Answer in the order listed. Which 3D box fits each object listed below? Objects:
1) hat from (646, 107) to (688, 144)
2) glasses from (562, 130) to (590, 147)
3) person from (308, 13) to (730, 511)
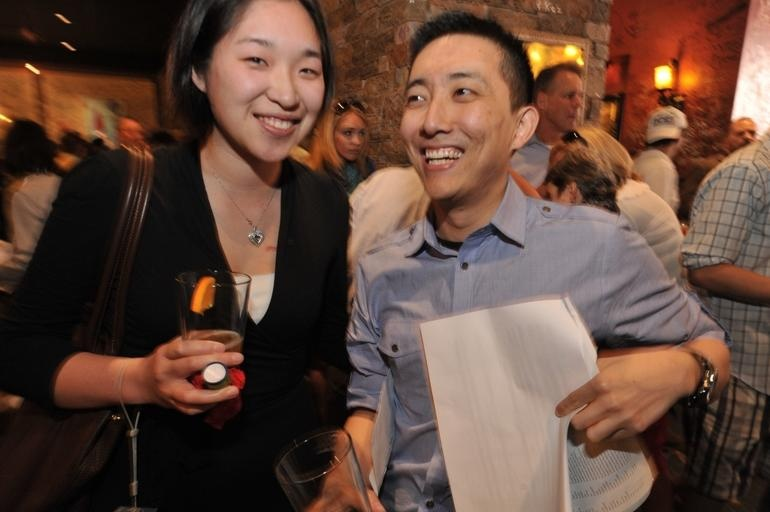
[{"bbox_3d":[1.943,-0.907,3.873,0.207,0.244,0.284,-4,-5,36],"label":"hat"},{"bbox_3d":[1.182,-0.725,3.467,0.099,0.132,0.110,-11,-21,-32],"label":"glasses"},{"bbox_3d":[0.525,0.101,2.054,1.314,1.941,0.698,4,9,-2],"label":"person"}]
